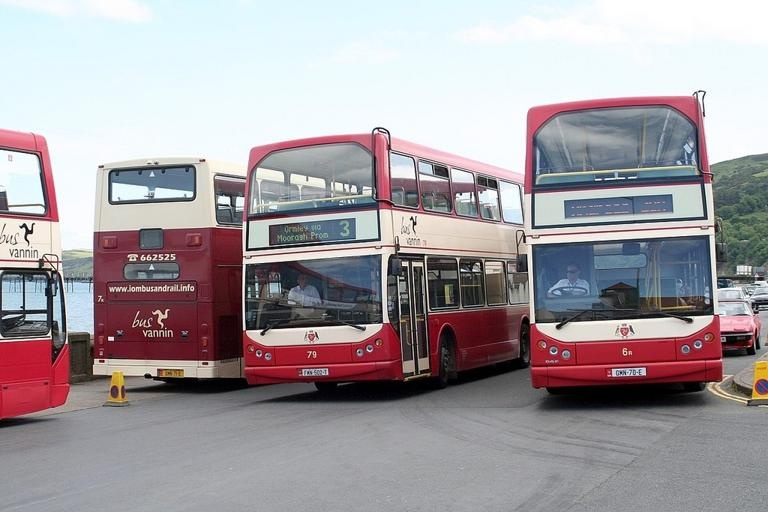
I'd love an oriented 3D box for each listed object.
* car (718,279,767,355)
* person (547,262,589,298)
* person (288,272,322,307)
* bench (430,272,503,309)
[{"bbox_3d":[14.461,2.673,24.646,1.289,2.518,6.183,-5,-3,29],"label":"car"},{"bbox_3d":[3.935,0.512,12.728,0.548,0.292,0.741,1,20,18],"label":"person"},{"bbox_3d":[-1.920,0.827,14.928,0.771,0.892,0.501,-4,-10,9],"label":"person"},{"bbox_3d":[2.431,1.014,18.190,0.849,0.816,3.150,-4,-7,29],"label":"bench"}]
